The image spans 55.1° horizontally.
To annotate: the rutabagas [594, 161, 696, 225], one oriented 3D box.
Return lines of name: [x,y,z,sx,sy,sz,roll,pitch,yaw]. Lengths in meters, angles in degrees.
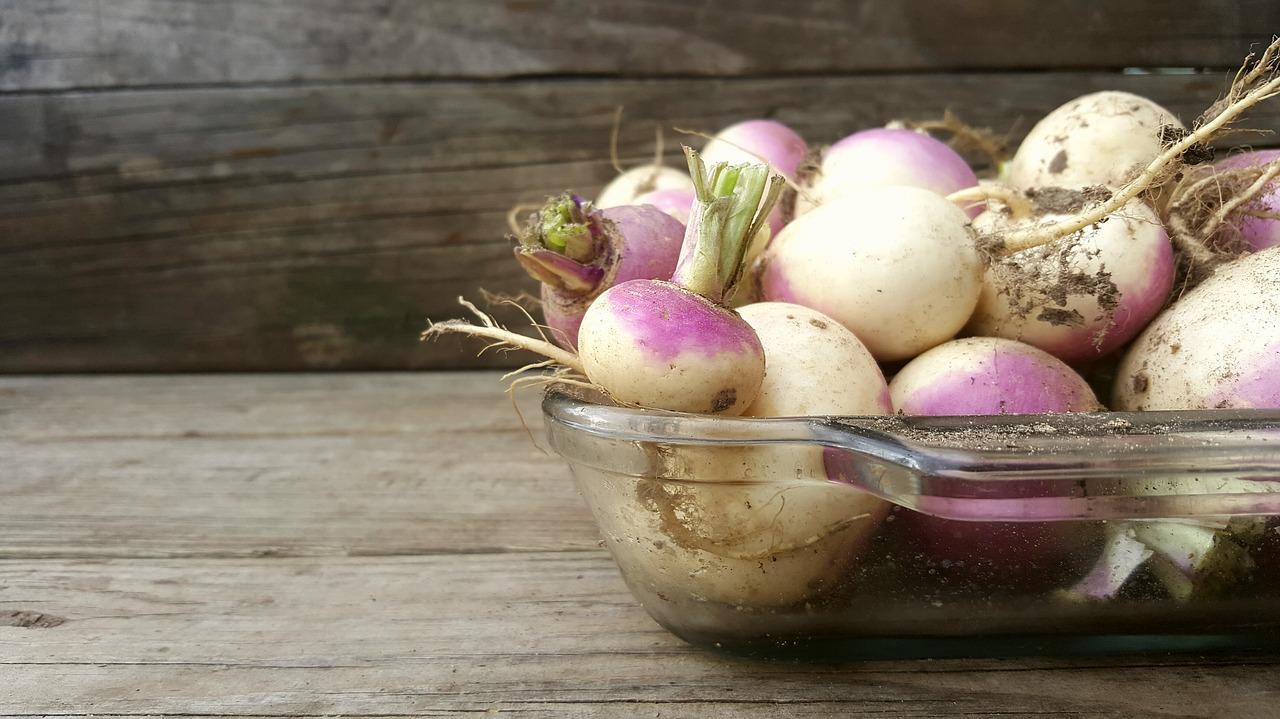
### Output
rutabagas: [0.009,-0.212,1.529,0.130,0.054,0.125,-2,3,14]
